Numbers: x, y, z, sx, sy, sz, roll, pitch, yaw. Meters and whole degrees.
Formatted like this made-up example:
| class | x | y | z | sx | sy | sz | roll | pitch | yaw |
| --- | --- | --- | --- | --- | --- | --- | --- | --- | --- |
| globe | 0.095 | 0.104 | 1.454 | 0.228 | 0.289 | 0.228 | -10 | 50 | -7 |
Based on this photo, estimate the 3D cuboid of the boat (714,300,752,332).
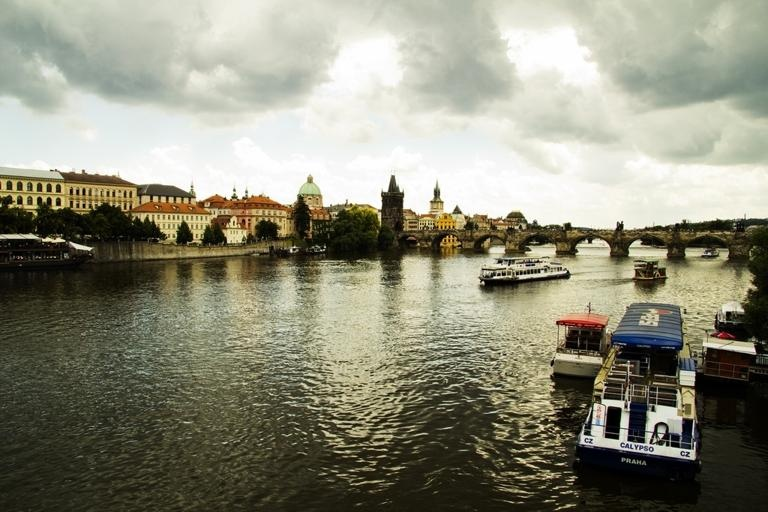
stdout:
| class | x | y | z | sx | sy | sz | roll | pitch | yaw |
| --- | --- | --- | --- | --- | --- | --- | --- | --- | --- |
| boat | 33.404 | 6.013 | 59.951 | 2.534 | 2.139 | 4.107 | 4 | 8 | 25 |

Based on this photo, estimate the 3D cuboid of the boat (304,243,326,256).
| class | x | y | z | sx | sy | sz | roll | pitch | yaw |
| --- | --- | --- | --- | --- | --- | --- | --- | --- | --- |
| boat | -20.017 | -1.780 | 181.496 | 3.200 | 1.931 | 4.448 | 4 | 9 | 20 |
